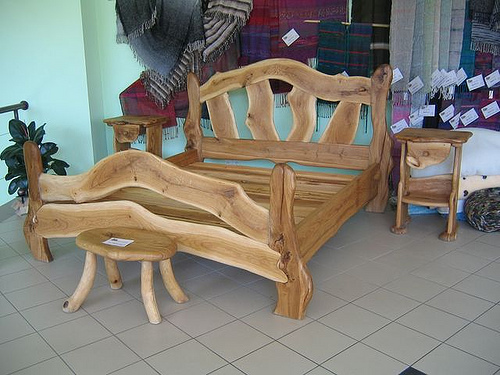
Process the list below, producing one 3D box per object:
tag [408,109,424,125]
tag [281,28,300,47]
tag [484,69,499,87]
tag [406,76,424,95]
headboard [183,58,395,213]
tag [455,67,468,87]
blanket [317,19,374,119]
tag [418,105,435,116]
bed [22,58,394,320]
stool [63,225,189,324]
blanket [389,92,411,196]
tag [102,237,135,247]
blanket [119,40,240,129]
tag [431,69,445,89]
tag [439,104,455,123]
[{"bbox_3d":[1.575,-0.669,3.652,0.104,0.139,0.045,44,14,0],"label":"tag"},{"bbox_3d":[0.391,-1.463,3.722,0.108,0.152,0.041,53,22,12],"label":"tag"},{"bbox_3d":[2.181,-0.982,3.448,0.122,0.113,0.030,46,20,22],"label":"tag"},{"bbox_3d":[1.524,-0.950,3.533,0.143,0.138,0.035,52,22,14],"label":"tag"},{"bbox_3d":[0.403,-0.484,3.376,1.736,1.003,0.093,5,17,17],"label":"headboard"},{"bbox_3d":[1.905,-1.007,3.464,0.102,0.136,0.037,49,30,16],"label":"tag"},{"bbox_3d":[0.904,-1.221,3.637,0.472,0.681,0.051,4,-16,5],"label":"blanket"},{"bbox_3d":[1.673,-0.735,3.622,0.114,0.074,0.015,4,16,20],"label":"tag"},{"bbox_3d":[-0.057,-0.271,3.043,1.896,1.466,2.222,9,21,28],"label":"bed"},{"bbox_3d":[-0.666,0.360,2.317,0.818,0.491,0.556,5,9,19],"label":"stool"},{"bbox_3d":[1.457,-0.488,3.719,0.253,1.019,0.076,-17,22,-26],"label":"blanket"},{"bbox_3d":[-0.729,0.297,2.129,0.146,0.004,0.096,7,19,25],"label":"tag"},{"bbox_3d":[-0.690,-1.073,4.002,1.221,0.928,0.140,-3,15,13],"label":"blanket"},{"bbox_3d":[1.687,-0.993,3.470,0.043,0.141,0.113,-11,66,-58],"label":"tag"},{"bbox_3d":[1.852,-0.698,3.593,0.106,0.147,0.040,42,18,7],"label":"tag"}]
